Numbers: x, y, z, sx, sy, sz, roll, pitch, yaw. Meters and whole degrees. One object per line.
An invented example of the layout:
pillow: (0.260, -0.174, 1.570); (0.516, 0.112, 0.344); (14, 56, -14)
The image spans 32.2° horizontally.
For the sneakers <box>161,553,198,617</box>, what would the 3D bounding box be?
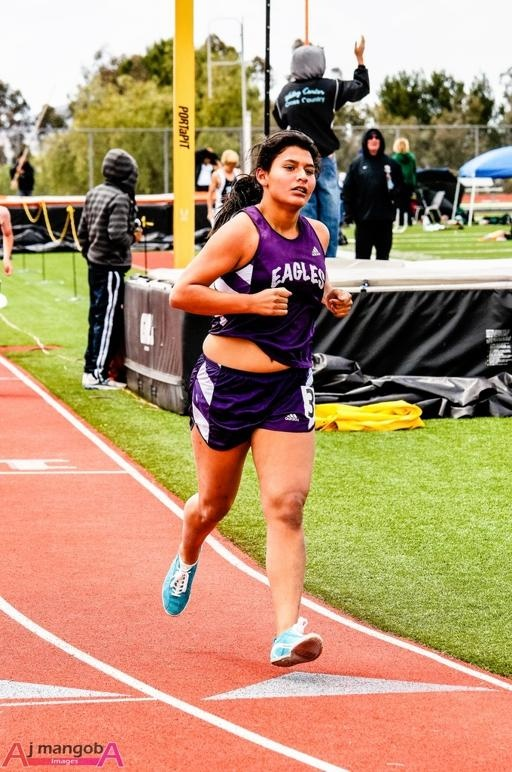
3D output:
sneakers: (-0.248, 0.722, 3.157); (0.094, 0.268, 0.108); (16, -14, -12)

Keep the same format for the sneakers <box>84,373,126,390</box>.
sneakers: (-1.504, -0.046, 8.805); (0.433, 0.178, 0.153); (-1, 6, -21)

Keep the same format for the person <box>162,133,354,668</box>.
person: (-0.024, 0.052, 2.690); (0.469, 1.613, 0.673); (1, 4, 2)

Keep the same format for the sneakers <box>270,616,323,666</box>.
sneakers: (0.109, 0.745, 2.505); (0.129, 0.145, 0.212); (0, 4, -3)

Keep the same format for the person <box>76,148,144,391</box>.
person: (-1.390, -1.036, 8.329); (0.520, 2.209, 0.990); (0, 4, -11)
